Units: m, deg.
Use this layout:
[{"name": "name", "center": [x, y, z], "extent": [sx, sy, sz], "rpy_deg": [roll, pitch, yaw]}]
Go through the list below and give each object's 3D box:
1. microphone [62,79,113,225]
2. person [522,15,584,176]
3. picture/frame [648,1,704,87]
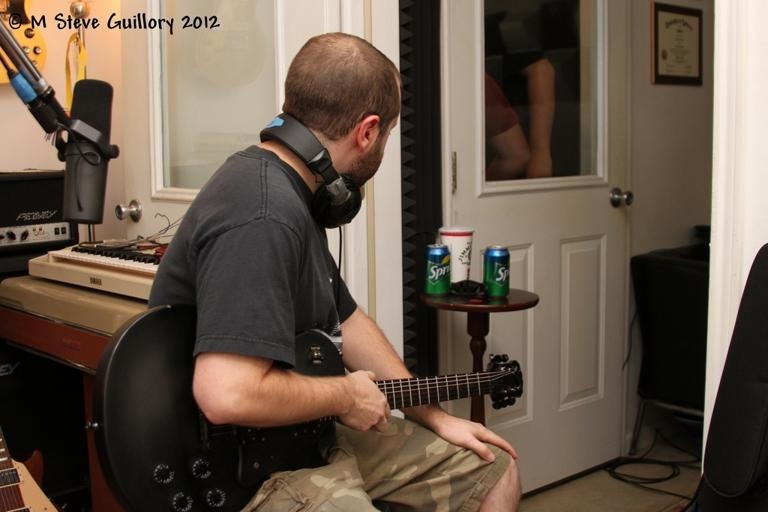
[{"name": "microphone", "center": [-0.969, -0.341, 2.041], "extent": [0.188, 0.467, 0.149], "rpy_deg": [-7, 11, -24]}, {"name": "person", "center": [0.816, -0.800, 3.011], "extent": [0.367, 0.816, 0.089], "rpy_deg": [-10, 12, -36]}, {"name": "picture/frame", "center": [1.592, -1.169, 3.436], "extent": [0.523, 0.566, 0.035], "rpy_deg": [1, -3, -41]}]
